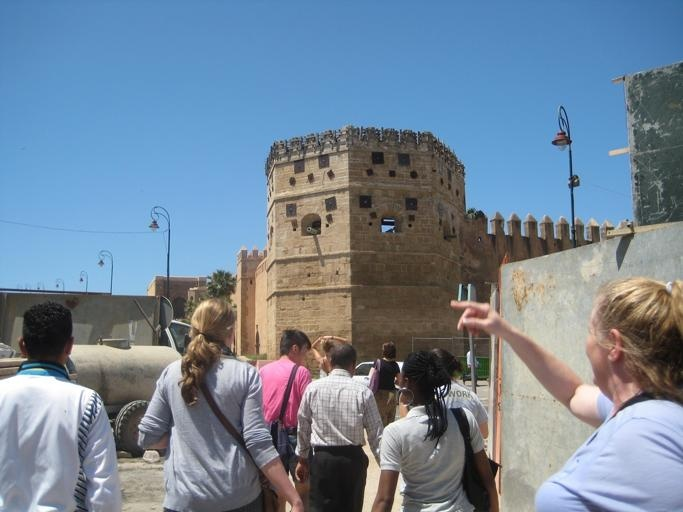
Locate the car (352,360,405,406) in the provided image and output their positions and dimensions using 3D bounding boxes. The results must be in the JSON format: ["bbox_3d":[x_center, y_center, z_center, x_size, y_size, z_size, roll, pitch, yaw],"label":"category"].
[{"bbox_3d":[1.046,2.836,23.468,1.534,0.982,0.972,3,-7,-1],"label":"car"}]
